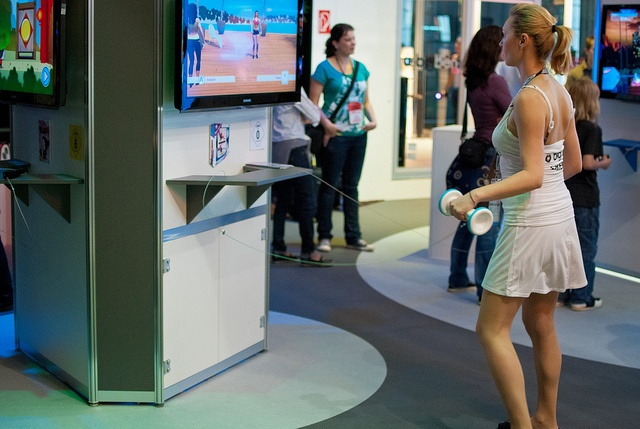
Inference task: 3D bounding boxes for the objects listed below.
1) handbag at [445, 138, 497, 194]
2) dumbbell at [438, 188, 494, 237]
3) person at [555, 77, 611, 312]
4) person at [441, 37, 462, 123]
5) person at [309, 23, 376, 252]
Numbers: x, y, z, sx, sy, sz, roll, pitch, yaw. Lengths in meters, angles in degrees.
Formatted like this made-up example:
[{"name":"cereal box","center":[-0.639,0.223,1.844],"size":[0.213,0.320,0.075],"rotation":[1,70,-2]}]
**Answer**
[{"name":"handbag","center":[1.132,-0.379,4.359],"size":[0.354,0.525,0.282],"rotation":[5,52,5]},{"name":"dumbbell","center":[0.652,-0.011,2.557],"size":[0.124,0.133,0.276],"rotation":[-9,23,-20]},{"name":"person","center":[1.967,-0.162,4.150],"size":[0.465,1.624,0.480],"rotation":[2,-3,-38]},{"name":"person","center":[1.795,-1.680,7.618],"size":[0.195,1.326,0.220],"rotation":[5,17,9]},{"name":"person","center":[0.254,-0.707,5.216],"size":[0.599,2.040,0.631],"rotation":[1,1,-32]}]
